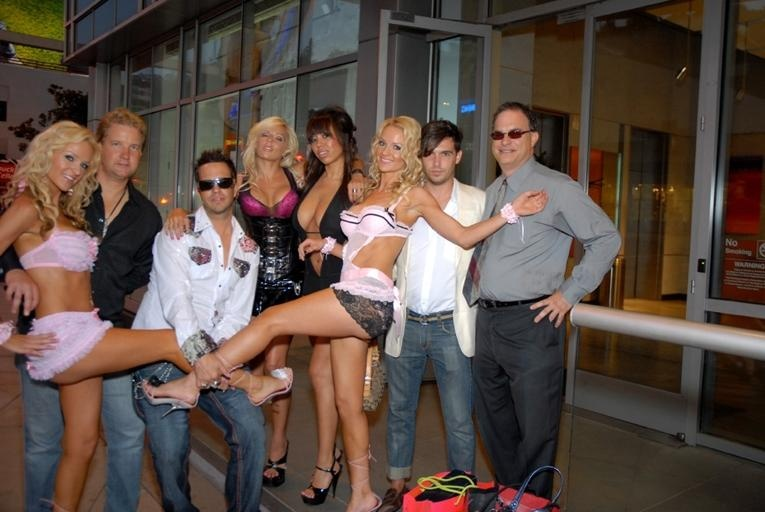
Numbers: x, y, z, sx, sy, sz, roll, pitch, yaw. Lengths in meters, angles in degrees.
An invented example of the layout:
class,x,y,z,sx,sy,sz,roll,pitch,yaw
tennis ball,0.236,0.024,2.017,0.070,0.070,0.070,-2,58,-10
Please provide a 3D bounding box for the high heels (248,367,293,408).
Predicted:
class,x,y,z,sx,sy,sz,roll,pitch,yaw
high heels,-0.695,0.888,3.392,0.290,0.092,0.161,-34,27,-33

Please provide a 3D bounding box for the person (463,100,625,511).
class,x,y,z,sx,sy,sz,roll,pitch,yaw
person,0.951,0.276,3.317,0.848,2.493,0.359,6,7,33

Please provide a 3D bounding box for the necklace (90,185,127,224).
class,x,y,z,sx,sy,sz,roll,pitch,yaw
necklace,-1.751,-0.342,3.451,0.080,0.014,0.283,12,49,-14

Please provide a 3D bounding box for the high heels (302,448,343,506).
class,x,y,z,sx,sy,sz,roll,pitch,yaw
high heels,-0.424,1.670,3.930,0.162,0.177,0.474,-5,-1,18

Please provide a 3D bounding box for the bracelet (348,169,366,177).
class,x,y,z,sx,sy,sz,roll,pitch,yaw
bracelet,-0.175,-0.619,3.888,0.077,0.062,0.079,0,-4,-20

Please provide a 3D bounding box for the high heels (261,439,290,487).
class,x,y,z,sx,sy,sz,roll,pitch,yaw
high heels,-0.826,1.658,4.133,0.122,0.107,0.382,0,1,2

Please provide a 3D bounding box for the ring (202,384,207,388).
class,x,y,z,sx,sy,sz,roll,pitch,yaw
ring,-1.047,0.772,3.098,0.027,0.026,0.007,0,45,-3

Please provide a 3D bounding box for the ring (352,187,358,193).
class,x,y,z,sx,sy,sz,roll,pitch,yaw
ring,-0.192,-0.470,3.726,0.039,0.041,0.010,0,-2,21

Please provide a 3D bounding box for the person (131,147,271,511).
class,x,y,z,sx,sy,sz,roll,pitch,yaw
person,-1.138,0.547,3.266,0.789,2.432,0.654,1,6,-17

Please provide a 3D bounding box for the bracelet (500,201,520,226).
class,x,y,z,sx,sy,sz,roll,pitch,yaw
bracelet,0.772,-0.250,3.185,0.124,0.134,0.048,-5,12,14

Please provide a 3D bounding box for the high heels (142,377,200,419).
class,x,y,z,sx,sy,sz,roll,pitch,yaw
high heels,-1.291,0.825,3.123,0.335,0.192,0.093,18,12,6
